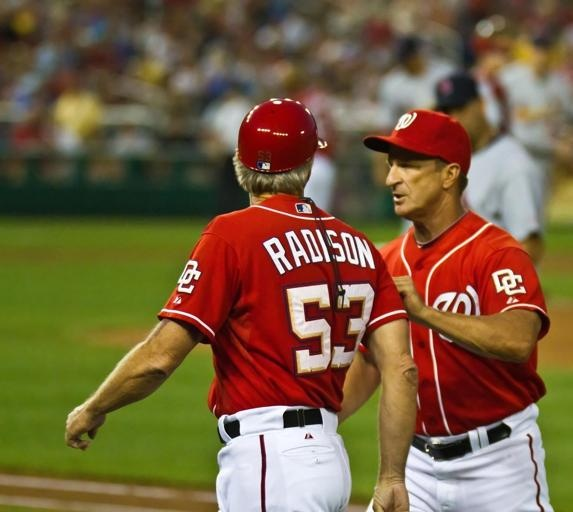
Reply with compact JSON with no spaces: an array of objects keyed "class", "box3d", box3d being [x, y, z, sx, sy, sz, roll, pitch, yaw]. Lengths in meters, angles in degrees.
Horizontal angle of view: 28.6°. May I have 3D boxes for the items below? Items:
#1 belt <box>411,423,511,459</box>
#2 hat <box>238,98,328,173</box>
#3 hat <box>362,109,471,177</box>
[{"class":"belt","box3d":[0.800,0.851,5.097,0.249,0.057,0.226,-18,-6,23]},{"class":"hat","box3d":[-0.025,-0.509,4.675,0.266,0.175,0.346,9,30,26]},{"class":"hat","box3d":[0.603,-0.497,5.145,0.415,0.228,0.286,9,2,-17]}]
